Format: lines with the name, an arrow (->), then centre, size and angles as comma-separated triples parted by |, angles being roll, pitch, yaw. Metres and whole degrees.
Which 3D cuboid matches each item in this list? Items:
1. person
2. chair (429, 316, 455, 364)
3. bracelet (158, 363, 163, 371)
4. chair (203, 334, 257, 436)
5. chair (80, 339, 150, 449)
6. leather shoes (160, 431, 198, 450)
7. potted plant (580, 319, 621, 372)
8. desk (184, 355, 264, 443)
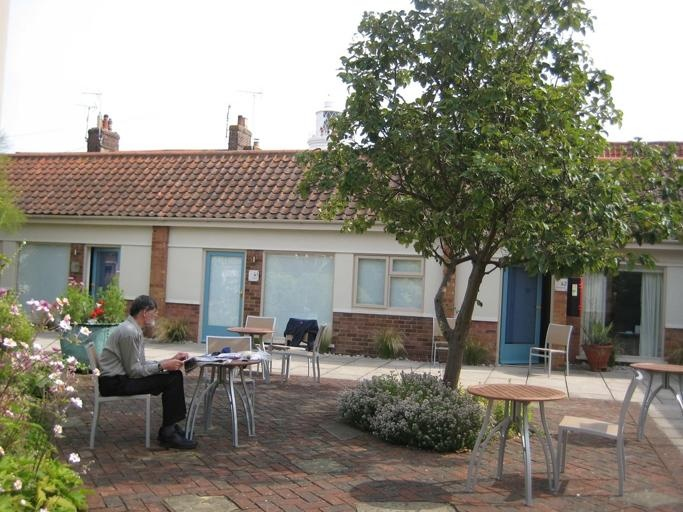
person -> -2.542, 1.467, 7.915 | 1.258, 1.876, 0.447 | 2, 2, 9
chair -> 2.487, 2.106, 15.189 | 0.386, 1.113, 0.526 | 2, 1, 9
bracelet -> -2.384, 1.442, 7.848 | 0.019, 0.069, 0.064 | -16, 9, -33
chair -> -1.708, 2.004, 9.354 | 0.677, 1.240, 0.596 | 4, -5, -43
chair -> -2.987, 1.758, 7.964 | 0.694, 1.284, 0.874 | 4, -20, 3
leather shoes -> -2.117, 2.320, 7.767 | 0.511, 0.270, 0.200 | 2, 1, 3
potted plant -> 6.477, 2.277, 15.343 | 1.001, 1.683, 1.061 | 1, -9, 1
desk -> -1.708, 1.961, 8.380 | 0.796, 0.953, 0.781 | 13, -13, -39
